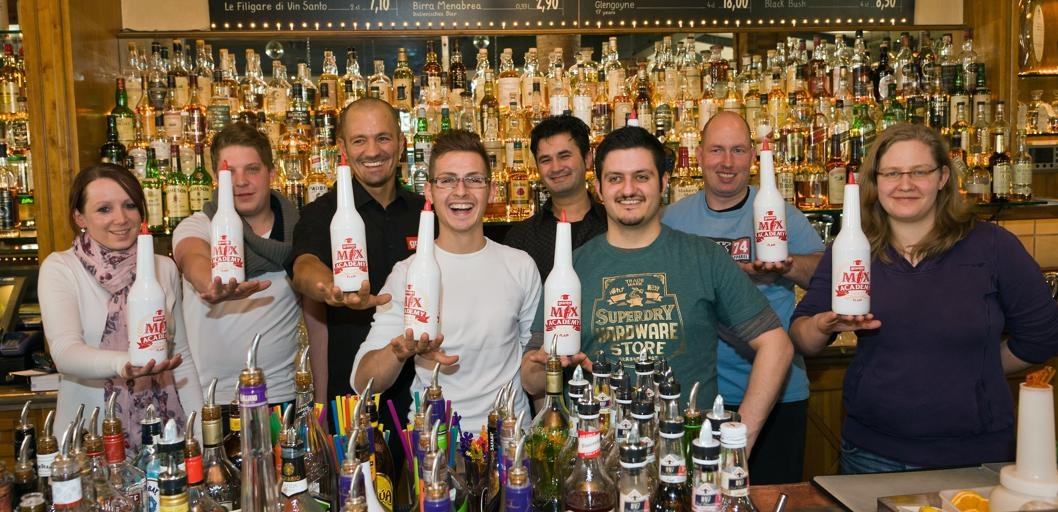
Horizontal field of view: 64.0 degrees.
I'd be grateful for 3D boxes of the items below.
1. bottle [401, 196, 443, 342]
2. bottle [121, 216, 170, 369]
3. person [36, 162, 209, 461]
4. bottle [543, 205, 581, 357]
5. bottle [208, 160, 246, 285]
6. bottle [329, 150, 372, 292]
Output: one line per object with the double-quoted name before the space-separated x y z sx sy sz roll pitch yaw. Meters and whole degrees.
"bottle" -0.598 0.078 4.620 0.220 0.751 0.225 -4 6 0
"bottle" -2.137 0.218 4.682 0.232 0.778 0.161 -5 6 -7
"person" -2.479 0.302 4.983 0.952 1.704 0.629 -4 6 3
"bottle" 0.174 0.162 4.574 0.211 0.769 0.271 -5 6 -8
"bottle" -1.775 -0.185 4.877 0.215 0.701 0.201 -4 6 0
"bottle" -1.031 -0.148 4.763 0.195 0.718 0.192 -4 6 0
